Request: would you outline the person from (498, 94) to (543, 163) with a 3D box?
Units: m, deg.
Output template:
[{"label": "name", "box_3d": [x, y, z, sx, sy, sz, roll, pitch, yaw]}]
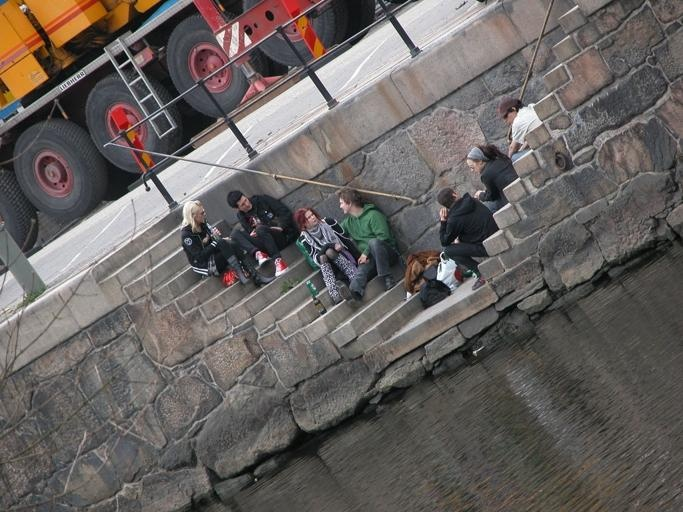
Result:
[{"label": "person", "box_3d": [2.161, -1.642, 15.309, 0.539, 0.834, 0.986, -29, 1, 8]}]

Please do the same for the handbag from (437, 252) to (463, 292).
[{"label": "handbag", "box_3d": [1.361, 0.211, 15.559, 0.226, 0.449, 0.403, 7, -1, -29]}]

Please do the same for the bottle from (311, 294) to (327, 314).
[{"label": "bottle", "box_3d": [-0.279, 0.615, 15.831, 0.125, 0.258, 0.172, -28, 1, -6]}]

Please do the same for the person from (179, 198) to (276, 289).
[{"label": "person", "box_3d": [-1.526, -0.182, 16.376, 1.212, 1.096, 0.580, 2, 9, 15]}]

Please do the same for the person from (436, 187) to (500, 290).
[{"label": "person", "box_3d": [1.537, -0.291, 15.520, 0.665, 1.301, 0.740, -24, 18, -13]}]

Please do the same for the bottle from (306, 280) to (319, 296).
[{"label": "bottle", "box_3d": [-0.378, 0.406, 16.082, 0.117, 0.240, 0.081, -12, -40, -25]}]

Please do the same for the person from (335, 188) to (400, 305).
[{"label": "person", "box_3d": [0.283, -0.199, 16.031, 0.753, 1.544, 0.582, -28, 1, 3]}]

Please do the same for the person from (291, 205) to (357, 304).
[{"label": "person", "box_3d": [-0.180, -0.106, 16.019, 0.604, 1.406, 0.487, -21, -7, 25]}]

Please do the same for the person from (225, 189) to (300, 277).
[{"label": "person", "box_3d": [-1.020, -0.305, 16.389, 0.601, 0.833, 0.488, -32, -13, -49]}]

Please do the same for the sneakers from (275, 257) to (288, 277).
[{"label": "sneakers", "box_3d": [-0.796, 0.139, 16.425, 0.112, 0.183, 0.277, -27, -6, 31]}]
